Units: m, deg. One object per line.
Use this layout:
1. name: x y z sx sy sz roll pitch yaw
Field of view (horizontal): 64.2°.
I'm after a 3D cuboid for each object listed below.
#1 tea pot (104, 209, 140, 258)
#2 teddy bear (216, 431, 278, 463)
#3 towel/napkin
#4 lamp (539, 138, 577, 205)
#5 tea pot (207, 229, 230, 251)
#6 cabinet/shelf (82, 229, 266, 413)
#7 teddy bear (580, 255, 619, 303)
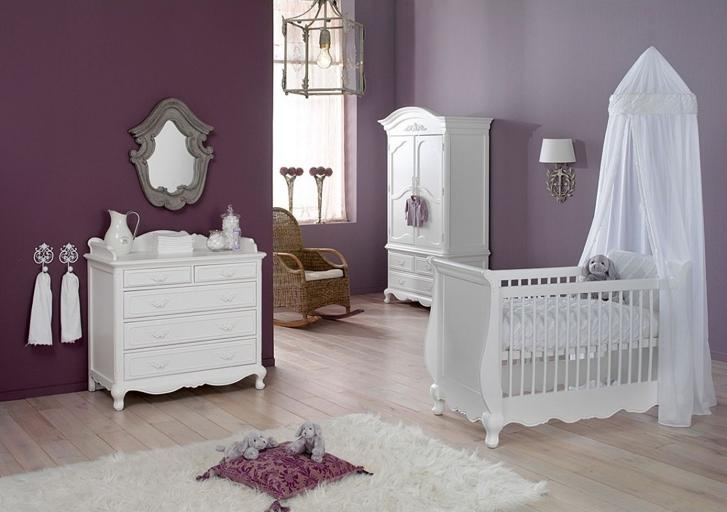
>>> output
1. tea pot: -1.764 -0.183 4.201 0.323 0.379 0.242 2 -2 -42
2. teddy bear: -0.644 1.069 3.144 0.262 0.103 0.176 -17 5 28
3. towel/napkin: -2.225 0.377 4.167 0.344 0.577 0.141 -4 10 -25
4. lamp: 2.029 -0.887 6.028 0.353 0.666 0.486 3 9 19
5. tea pot: -1.094 -0.121 4.407 0.145 0.144 0.148 -1 1 0
6. cabinet/shelf: -1.408 0.491 4.167 1.220 1.242 0.625 -1 2 -34
7. teddy bear: 1.707 0.158 4.240 0.267 0.356 0.281 1 51 23
